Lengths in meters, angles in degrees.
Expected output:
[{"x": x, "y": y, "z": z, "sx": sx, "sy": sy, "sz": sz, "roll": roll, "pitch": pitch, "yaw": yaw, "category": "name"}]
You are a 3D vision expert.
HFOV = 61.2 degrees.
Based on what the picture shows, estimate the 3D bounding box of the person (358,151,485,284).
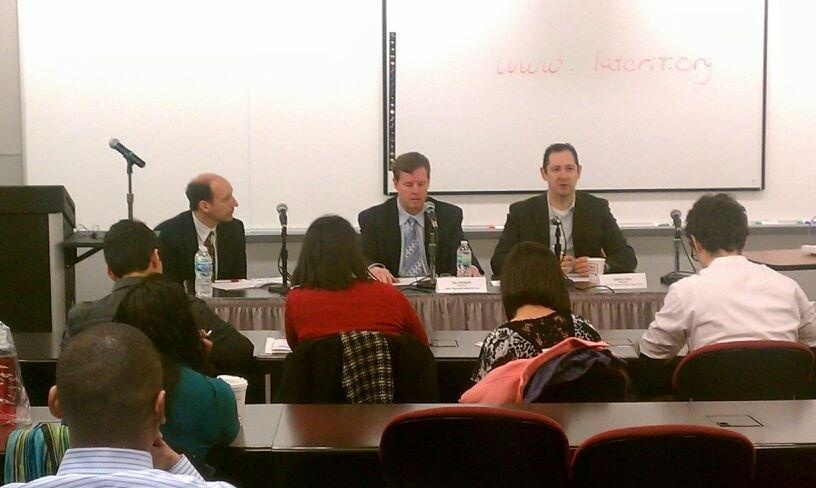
[{"x": 0.082, "y": -0.044, "z": 4.851, "sx": 0.912, "sy": 1.081, "sz": 0.854, "roll": 0, "pitch": 19, "yaw": 1, "category": "person"}]

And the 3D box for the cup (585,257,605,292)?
[{"x": 1.228, "y": 0.182, "z": 4.498, "sx": 0.166, "sy": 0.220, "sz": 0.160, "roll": 1, "pitch": -7, "yaw": 0, "category": "cup"}]

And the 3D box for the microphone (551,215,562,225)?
[{"x": 0.973, "y": -0.171, "z": 4.503, "sx": 0.070, "sy": 0.091, "sz": 0.098, "roll": -2, "pitch": -11, "yaw": 9, "category": "microphone"}]

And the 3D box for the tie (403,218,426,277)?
[{"x": 0.043, "y": 0.037, "z": 4.876, "sx": 0.227, "sy": 0.495, "sz": 0.047, "roll": -6, "pitch": 31, "yaw": -4, "category": "tie"}]
